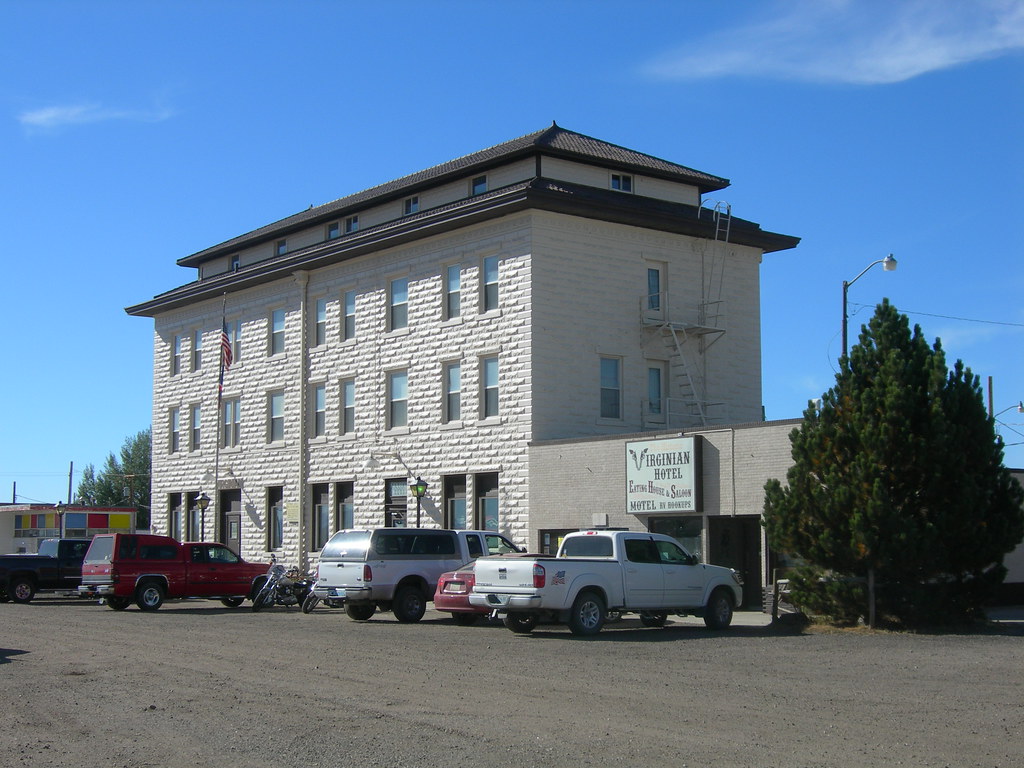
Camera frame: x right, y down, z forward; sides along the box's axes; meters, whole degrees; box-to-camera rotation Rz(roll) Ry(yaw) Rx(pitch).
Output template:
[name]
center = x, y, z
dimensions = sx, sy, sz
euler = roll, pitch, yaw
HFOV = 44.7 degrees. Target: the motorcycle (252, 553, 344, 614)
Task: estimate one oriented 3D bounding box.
[motorcycle]
center = -5.887, 5.279, 34.200
dimensions = 3.030, 1.853, 1.622
euler = 16, -21, -41
